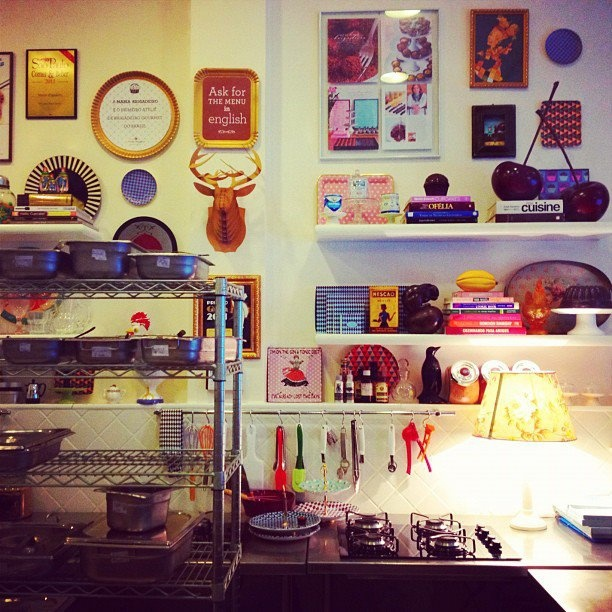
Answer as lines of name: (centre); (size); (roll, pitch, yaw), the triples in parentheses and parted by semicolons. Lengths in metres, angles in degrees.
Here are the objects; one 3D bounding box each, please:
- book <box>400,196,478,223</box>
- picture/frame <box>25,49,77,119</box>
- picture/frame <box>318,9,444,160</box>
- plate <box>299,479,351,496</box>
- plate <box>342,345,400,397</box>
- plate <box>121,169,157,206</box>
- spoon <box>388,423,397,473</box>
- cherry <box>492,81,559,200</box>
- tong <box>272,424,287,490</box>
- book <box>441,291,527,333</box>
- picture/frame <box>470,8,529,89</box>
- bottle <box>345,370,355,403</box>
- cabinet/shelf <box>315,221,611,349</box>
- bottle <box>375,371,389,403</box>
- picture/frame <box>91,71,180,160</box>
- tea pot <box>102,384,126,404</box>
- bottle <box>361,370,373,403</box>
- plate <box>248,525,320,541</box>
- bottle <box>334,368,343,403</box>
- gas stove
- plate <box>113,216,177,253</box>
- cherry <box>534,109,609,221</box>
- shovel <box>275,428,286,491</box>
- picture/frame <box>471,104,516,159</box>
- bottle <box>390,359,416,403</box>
book: (0.582, -0.412, 3.052); (0.304, 0.118, 0.073); (0, 5, 9)
picture/frame: (-1.236, -1.072, 3.440); (0.244, 0.338, 0.048); (-1, 5, 2)
picture/frame: (0.347, -1.035, 3.322); (0.557, 0.694, 0.085); (-1, 5, 2)
plate: (0.089, 0.805, 3.110); (0.225, 0.091, 0.130); (0, 5, 3)
plate: (0.301, 0.286, 3.227); (0.246, 0.208, 0.101); (3, 7, 16)
plate: (-0.796, -0.559, 3.374); (0.169, 0.177, 0.039); (0, 5, 12)
spoon: (0.382, 0.635, 3.117); (0.037, 0.236, 0.129); (0, 5, 7)
cherry: (0.958, -0.687, 3.203); (0.324, 0.574, 0.156); (2, 7, 12)
tong: (-0.119, 0.672, 3.141); (0.056, 0.285, 0.042); (0, 0, 6)
book: (0.773, 0.035, 3.038); (0.331, 0.177, 0.068); (0, 5, 5)
picture/frame: (0.900, -1.195, 3.297); (0.260, 0.363, 0.036); (-1, 5, 2)
bottle: (0.199, 0.366, 3.194); (0.040, 0.133, 0.093); (0, 5, 4)
cabinet/shelf: (0.696, -0.127, 3.192); (1.277, 0.486, 0.216); (2, 5, 5)
bottle: (0.346, 0.368, 3.164); (0.074, 0.129, 0.056); (-2, 5, -16)
picture/frame: (-0.824, -0.918, 3.398); (0.449, 0.418, 0.051); (-2, 1, 6)
tea pot: (-0.864, 0.411, 3.236); (0.100, 0.093, 0.073); (1, -6, 9)
bottle: (0.274, 0.360, 3.168); (0.059, 0.148, 0.044); (-1, 5, 0)
plate: (-0.091, 0.910, 2.848); (0.280, 0.063, 0.127); (-1, 5, 1)
bottle: (0.150, 0.371, 3.177); (0.042, 0.123, 0.049); (-1, 5, 0)
gas stove: (0.467, 0.911, 2.859); (0.690, 0.078, 0.493); (0, 5, 3)
plate: (-0.754, -0.340, 3.335); (0.326, 0.162, 0.090); (1, 6, 22)
cherry: (1.182, -0.641, 3.147); (0.289, 0.542, 0.312); (1, 5, 15)
shovel: (-0.107, 0.685, 3.136); (0.058, 0.255, 0.039); (0, 5, 12)
picture/frame: (0.876, -0.809, 3.283); (0.266, 0.298, 0.022); (1, -4, 3)
bottle: (0.442, 0.344, 3.196); (0.108, 0.186, 0.126); (0, 5, 11)
